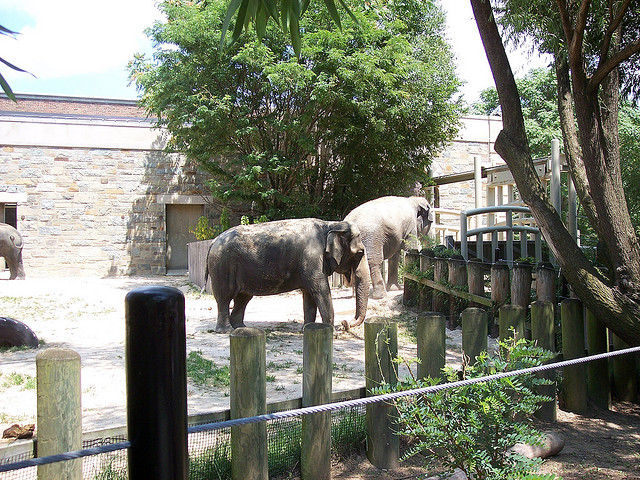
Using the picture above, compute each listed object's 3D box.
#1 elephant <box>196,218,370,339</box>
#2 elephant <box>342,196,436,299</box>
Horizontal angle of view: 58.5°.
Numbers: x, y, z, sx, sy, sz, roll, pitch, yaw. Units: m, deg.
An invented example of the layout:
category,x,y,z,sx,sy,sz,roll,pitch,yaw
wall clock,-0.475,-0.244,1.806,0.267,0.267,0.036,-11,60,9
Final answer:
category,x,y,z,sx,sy,sz,roll,pitch,yaw
elephant,-0.451,0.607,8.559,2.392,1.799,1.211,-1,9,-8
elephant,1.387,0.174,11.279,0.960,1.476,2.030,-1,3,35
